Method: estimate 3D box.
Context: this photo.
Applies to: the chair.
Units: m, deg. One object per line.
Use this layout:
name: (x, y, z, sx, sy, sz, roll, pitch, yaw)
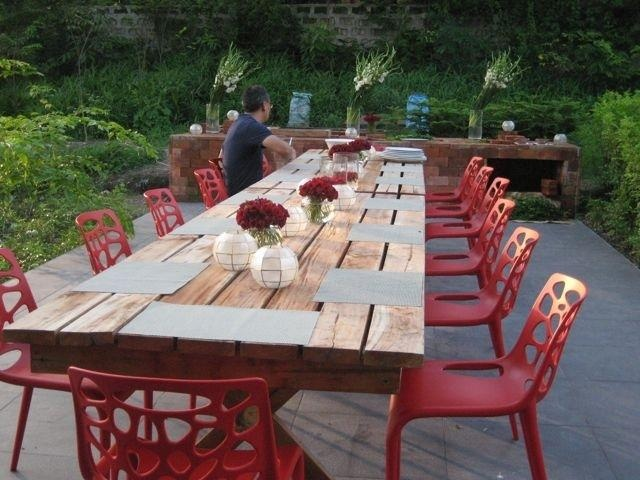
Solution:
chair: (-0.083, 0.341, 2.275, 1.334, 0.717, 1.814, 4, 16, 13)
